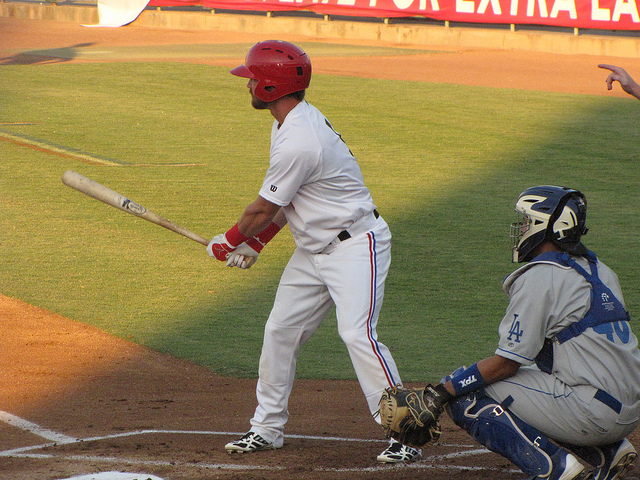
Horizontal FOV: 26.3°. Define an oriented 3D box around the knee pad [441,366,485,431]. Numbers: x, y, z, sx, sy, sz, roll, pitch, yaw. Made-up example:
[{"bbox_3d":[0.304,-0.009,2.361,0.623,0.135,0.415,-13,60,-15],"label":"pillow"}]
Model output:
[{"bbox_3d":[1.246,1.470,11.781,0.344,0.340,0.113,0,18,3],"label":"knee pad"}]
